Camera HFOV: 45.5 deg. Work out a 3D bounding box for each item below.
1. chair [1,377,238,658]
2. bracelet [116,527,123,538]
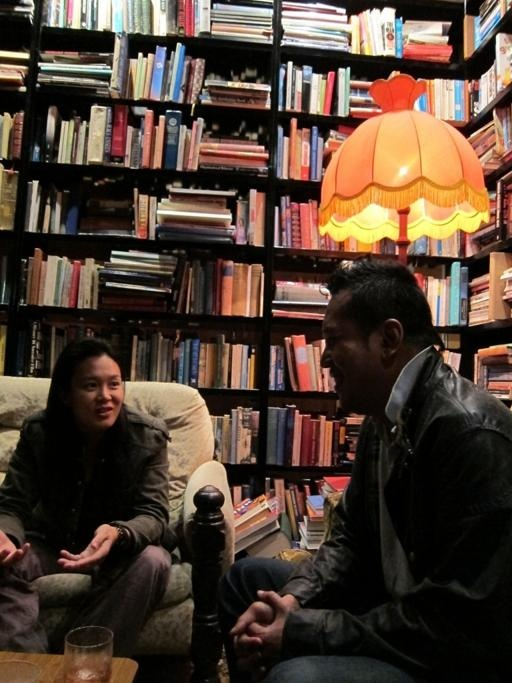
[{"bbox_3d":[-0.420,0.405,1.808,0.685,0.756,0.756,0,-9,-3],"label":"chair"},{"bbox_3d":[-0.295,0.414,1.325,0.006,0.016,0.011,-15,4,-30],"label":"bracelet"}]
